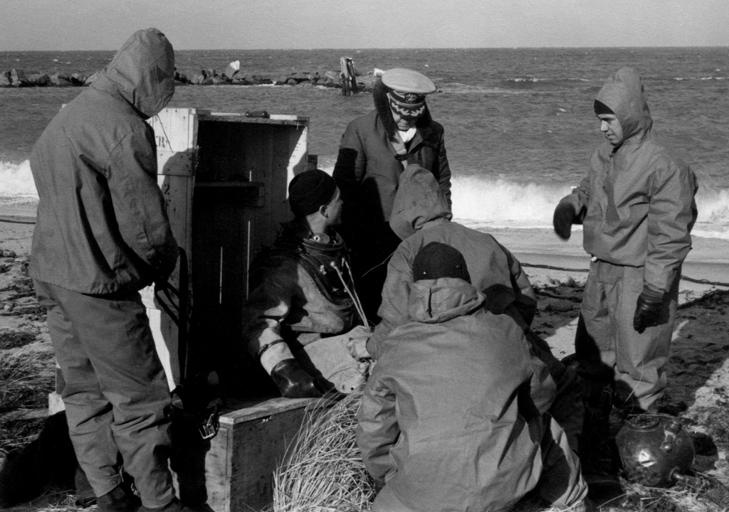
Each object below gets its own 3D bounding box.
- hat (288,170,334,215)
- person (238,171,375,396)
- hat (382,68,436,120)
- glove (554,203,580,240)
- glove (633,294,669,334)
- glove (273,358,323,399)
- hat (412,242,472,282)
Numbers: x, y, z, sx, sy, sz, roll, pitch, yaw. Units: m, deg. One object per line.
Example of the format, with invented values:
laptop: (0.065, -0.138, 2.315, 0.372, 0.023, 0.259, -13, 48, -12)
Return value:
hat: (-0.450, -0.493, 6.082, 0.325, 0.205, 0.361, -30, 15, -15)
person: (-0.511, 0.236, 6.076, 0.941, 1.625, 1.488, 7, 16, 21)
hat: (0.387, -1.416, 6.705, 0.496, 0.417, 0.440, 4, 16, 12)
glove: (1.843, -0.312, 6.941, 0.223, 0.308, 0.084, 9, 3, 37)
glove: (2.261, 0.453, 5.975, 0.294, 0.347, 0.147, -2, 16, -8)
glove: (-0.478, 0.890, 5.579, 0.381, 0.232, 0.226, 4, 27, 27)
hat: (0.461, 0.087, 5.289, 0.383, 0.353, 0.282, 5, -5, -27)
